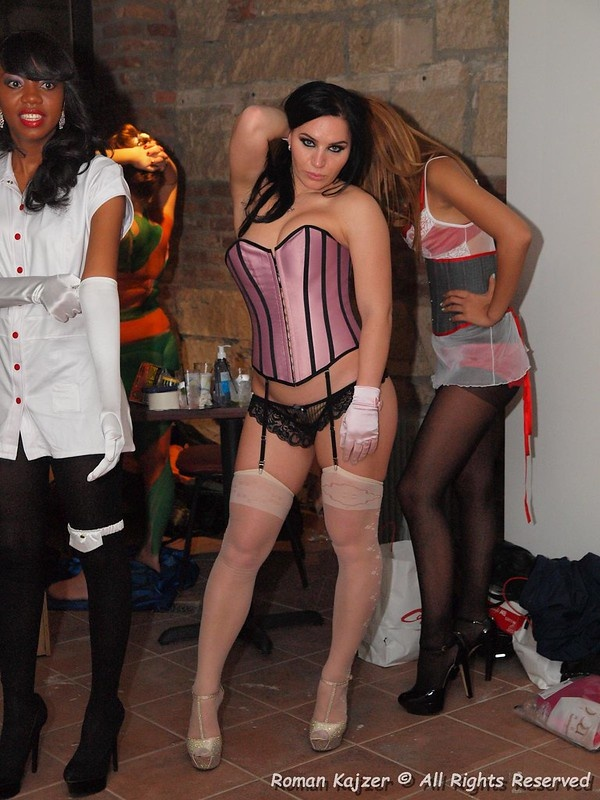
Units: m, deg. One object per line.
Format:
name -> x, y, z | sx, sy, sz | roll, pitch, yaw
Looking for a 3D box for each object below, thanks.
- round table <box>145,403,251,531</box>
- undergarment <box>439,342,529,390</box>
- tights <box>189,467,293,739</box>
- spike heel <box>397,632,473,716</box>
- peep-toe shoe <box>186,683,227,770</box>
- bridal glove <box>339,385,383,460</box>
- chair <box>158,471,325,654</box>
round table -> -0.322, 0.223, 2.631 | 0.459, 0.363, 0.414 | 1, 7, -6
undergarment -> 0.515, -0.118, 2.056 | 0.180, 0.082, 0.157 | -2, 10, 3
tights -> -0.154, 0.477, 1.739 | 0.204, 0.643, 0.187 | 10, 4, -28
spike heel -> 0.391, 0.782, 2.069 | 0.271, 0.215, 0.145 | -3, -5, -20
peep-toe shoe -> -0.216, 0.749, 1.668 | 0.078, 0.181, 0.087 | -5, -9, 1
bridal glove -> 0.135, 0.047, 1.558 | 0.096, 0.146, 0.043 | 0, 22, -7
chair -> -0.197, 0.694, 2.783 | 0.587, 0.509, 0.571 | 3, -16, -6
